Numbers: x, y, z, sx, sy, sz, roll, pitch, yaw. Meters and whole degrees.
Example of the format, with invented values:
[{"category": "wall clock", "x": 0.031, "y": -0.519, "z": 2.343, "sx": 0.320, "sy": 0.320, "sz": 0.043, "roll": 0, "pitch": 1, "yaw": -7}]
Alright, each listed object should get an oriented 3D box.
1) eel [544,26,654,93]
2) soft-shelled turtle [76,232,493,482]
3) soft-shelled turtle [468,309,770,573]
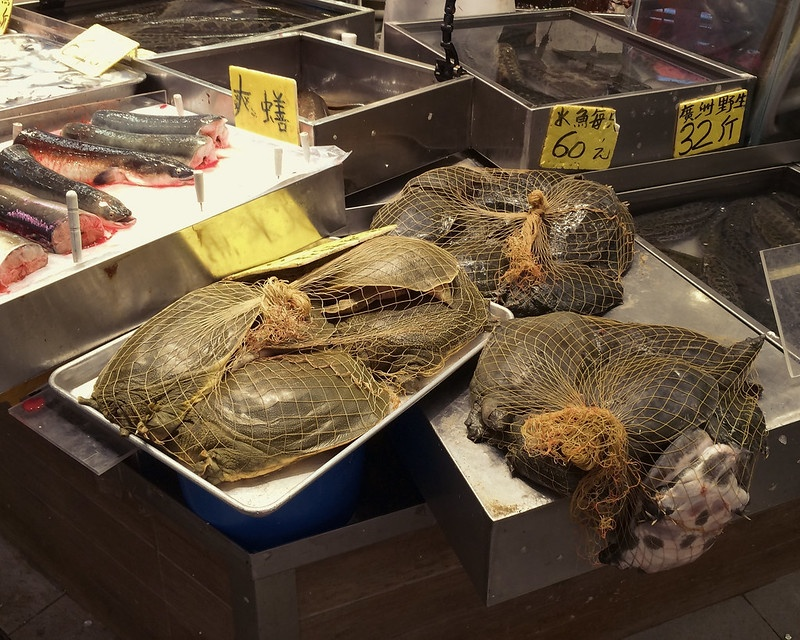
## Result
[{"category": "eel", "x": 0.769, "y": -0.993, "z": 2.361, "sx": 0.509, "sy": 0.299, "sz": 0.351, "roll": -18, "pitch": 30, "yaw": -32}, {"category": "soft-shelled turtle", "x": -0.165, "y": 0.066, "z": 1.211, "sx": 0.426, "sy": 0.232, "sz": 0.640, "roll": 23, "pitch": 44, "yaw": 38}, {"category": "soft-shelled turtle", "x": 0.439, "y": 0.198, "z": 1.281, "sx": 0.568, "sy": 0.336, "sz": 0.503, "roll": 30, "pitch": 51, "yaw": 29}]
